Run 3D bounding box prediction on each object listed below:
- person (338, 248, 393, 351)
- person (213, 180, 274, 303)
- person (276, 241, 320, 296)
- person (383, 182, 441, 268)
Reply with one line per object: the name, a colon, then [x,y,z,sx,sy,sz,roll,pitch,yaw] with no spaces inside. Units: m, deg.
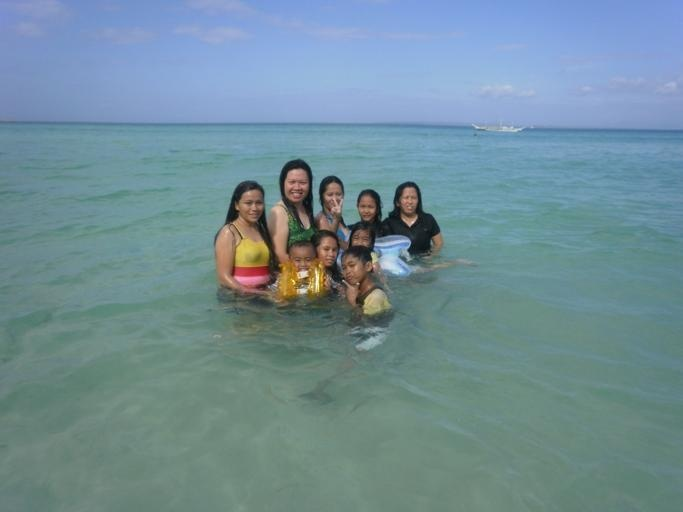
person: [0.317,0.432,6.107,0.609,0.817,1.132,0,19,0]
person: [-1.272,-0.242,6.591,0.783,1.403,0.719,-3,20,-9]
person: [-0.549,0.197,6.714,0.635,0.287,0.899,1,57,-17]
person: [1.260,-0.612,9.273,1.426,1.739,1.193,-2,8,-3]
